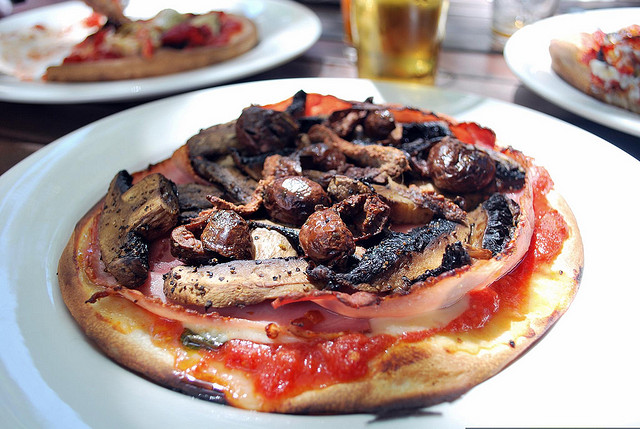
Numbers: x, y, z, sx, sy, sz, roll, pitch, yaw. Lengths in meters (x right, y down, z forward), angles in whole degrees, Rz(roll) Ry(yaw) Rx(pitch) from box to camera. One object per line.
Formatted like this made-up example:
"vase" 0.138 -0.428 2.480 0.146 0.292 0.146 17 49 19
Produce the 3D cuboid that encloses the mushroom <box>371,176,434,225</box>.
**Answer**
"mushroom" 0.174 -0.029 1.155 0.106 0.030 0.076 20 33 2

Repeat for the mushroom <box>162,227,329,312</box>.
"mushroom" -0.154 0.111 1.044 0.219 0.053 0.150 -7 36 -11

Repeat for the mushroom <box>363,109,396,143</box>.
"mushroom" 0.130 -0.203 1.243 0.073 0.069 0.024 3 16 12

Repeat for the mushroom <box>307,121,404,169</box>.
"mushroom" 0.083 -0.148 1.278 0.212 0.056 0.087 19 55 24

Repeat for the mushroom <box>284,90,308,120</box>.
"mushroom" -0.055 -0.258 1.288 0.050 0.017 0.066 19 98 2

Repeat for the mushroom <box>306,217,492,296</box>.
"mushroom" 0.173 0.077 1.063 0.386 0.055 0.134 -19 43 -8

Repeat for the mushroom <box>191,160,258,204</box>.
"mushroom" -0.215 -0.085 1.224 0.141 0.029 0.091 32 36 15

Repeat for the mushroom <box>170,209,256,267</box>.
"mushroom" -0.214 0.043 1.091 0.167 0.061 0.115 -2 46 -6

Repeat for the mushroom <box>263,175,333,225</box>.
"mushroom" -0.045 -0.039 1.141 0.122 0.066 0.091 12 24 31

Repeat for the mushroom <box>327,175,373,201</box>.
"mushroom" 0.069 -0.056 1.141 0.074 0.022 0.052 13 44 11

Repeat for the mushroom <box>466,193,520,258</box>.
"mushroom" 0.362 0.027 1.102 0.114 0.036 0.144 -3 52 7

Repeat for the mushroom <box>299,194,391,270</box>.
"mushroom" 0.053 0.026 1.075 0.185 0.078 0.135 -20 55 -8

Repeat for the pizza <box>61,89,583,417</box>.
"pizza" 0.008 0.041 1.091 0.951 0.120 0.753 19 63 13
